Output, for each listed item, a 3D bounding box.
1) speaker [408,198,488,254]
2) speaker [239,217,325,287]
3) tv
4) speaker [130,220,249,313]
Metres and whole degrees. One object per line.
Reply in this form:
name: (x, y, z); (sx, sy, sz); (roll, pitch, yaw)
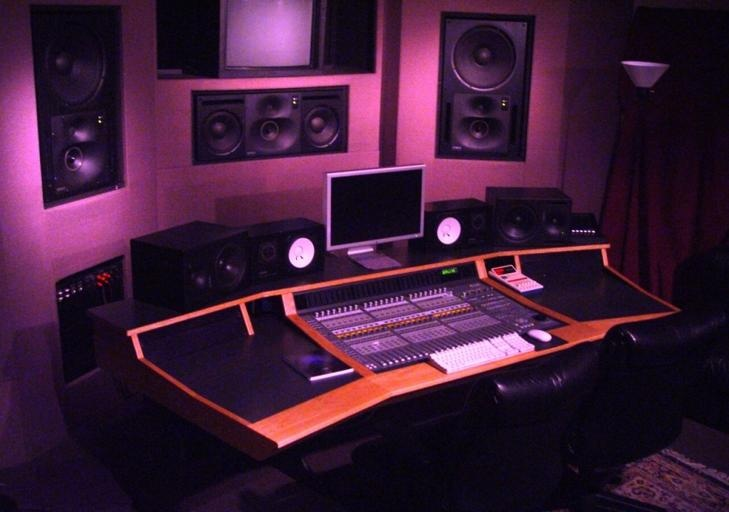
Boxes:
speaker: (0.577, -0.214, 3.829); (0.447, 0.271, 0.235); (-8, 21, -11)
speaker: (-0.493, -0.048, 3.420); (0.498, 0.290, 0.283); (-13, 29, -26)
tv: (0.058, -0.250, 3.588); (0.676, 0.595, 0.320); (-10, 27, -25)
speaker: (-0.940, 0.042, 3.154); (0.403, 0.341, 0.522); (16, 25, 37)
